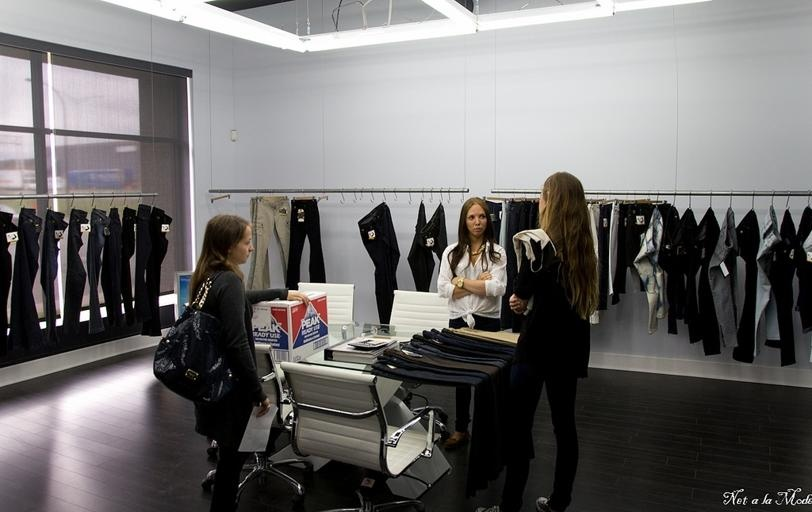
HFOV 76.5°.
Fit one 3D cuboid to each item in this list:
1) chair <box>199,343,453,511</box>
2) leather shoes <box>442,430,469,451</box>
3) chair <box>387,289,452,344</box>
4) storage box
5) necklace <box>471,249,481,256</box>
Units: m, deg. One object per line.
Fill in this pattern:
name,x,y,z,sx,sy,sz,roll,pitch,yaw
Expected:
chair,-0.546,1.143,4.165,1.547,1.757,1.388,1,5,24
leather shoes,0.437,1.620,4.503,0.102,0.111,0.256,-10,-12,38
chair,0.116,0.568,4.839,0.373,0.551,0.443,1,1,9
storage box,-0.900,0.532,4.163,0.432,0.603,0.815,-2,1,27
necklace,0.621,-0.031,4.562,0.055,0.016,0.057,-27,9,-30
